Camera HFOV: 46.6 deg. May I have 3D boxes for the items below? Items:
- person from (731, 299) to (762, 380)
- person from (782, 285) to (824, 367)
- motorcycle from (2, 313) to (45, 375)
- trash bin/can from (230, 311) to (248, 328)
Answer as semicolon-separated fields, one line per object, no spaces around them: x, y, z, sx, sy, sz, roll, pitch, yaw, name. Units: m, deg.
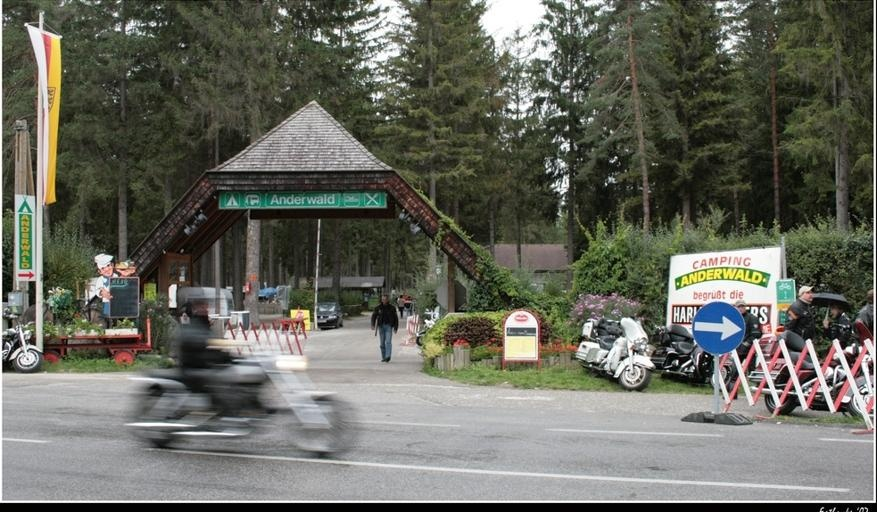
12.540;2.966;41.231;0.956;2.811;0.880;0;-1;8;person
14.005;2.677;39.498;1.189;3.281;1.193;0;0;8;person
-18.303;3.959;45.169;1.909;3.008;1.474;0;-1;-13;motorcycle
-11.791;3.817;60.332;0.698;0.873;1.191;2;0;23;trash bin/can
